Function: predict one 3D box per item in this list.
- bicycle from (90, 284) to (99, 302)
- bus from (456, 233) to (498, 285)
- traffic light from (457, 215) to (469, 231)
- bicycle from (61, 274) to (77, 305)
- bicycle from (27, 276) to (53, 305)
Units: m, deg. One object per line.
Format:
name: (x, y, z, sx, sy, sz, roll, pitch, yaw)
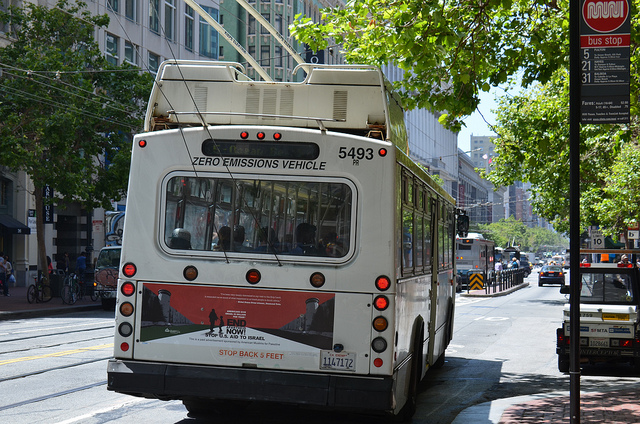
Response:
bicycle: (-9.235, 3.316, 29.976, 0.130, 0.574, 0.563, 10, -35, -39)
bus: (10.435, 2.995, 50.255, 2.773, 3.511, 7.534, 0, -2, 15)
traffic light: (3.241, 0.243, 16.739, 0.322, 0.311, 0.080, 14, -4, -21)
bicycle: (-9.783, 3.047, 28.574, 0.587, 1.105, 1.029, 1, -6, -20)
bicycle: (-11.015, 2.928, 28.714, 0.694, 0.876, 1.448, -7, -9, 12)
